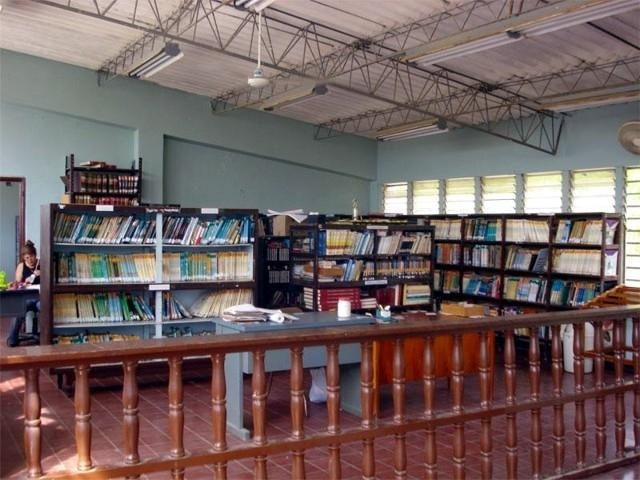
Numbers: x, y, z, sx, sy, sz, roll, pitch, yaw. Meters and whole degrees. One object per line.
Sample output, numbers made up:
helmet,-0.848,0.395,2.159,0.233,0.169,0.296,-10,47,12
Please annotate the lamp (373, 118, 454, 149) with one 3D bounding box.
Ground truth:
lamp,1.810,-2.174,10.529,0.670,0.318,1.699,-1,9,-24

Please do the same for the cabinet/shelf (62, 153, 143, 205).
cabinet/shelf,-4.481,-1.550,11.287,0.897,1.447,1.555,0,9,-7

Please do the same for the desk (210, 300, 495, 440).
desk,0.276,1.235,5.640,2.916,1.465,1.504,-6,11,-43
